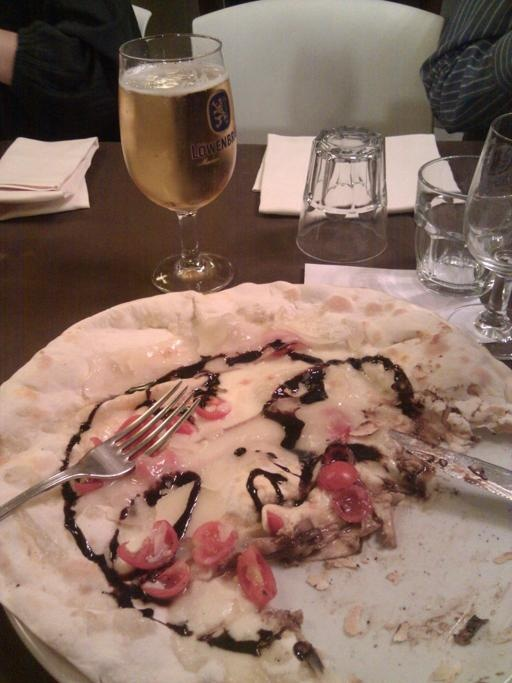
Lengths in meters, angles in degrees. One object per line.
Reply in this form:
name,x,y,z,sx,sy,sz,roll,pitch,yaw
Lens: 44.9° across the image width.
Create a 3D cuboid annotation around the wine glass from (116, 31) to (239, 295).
wine glass,-0.094,-0.239,0.817,0.139,0.293,0.240,-4,35,-1
